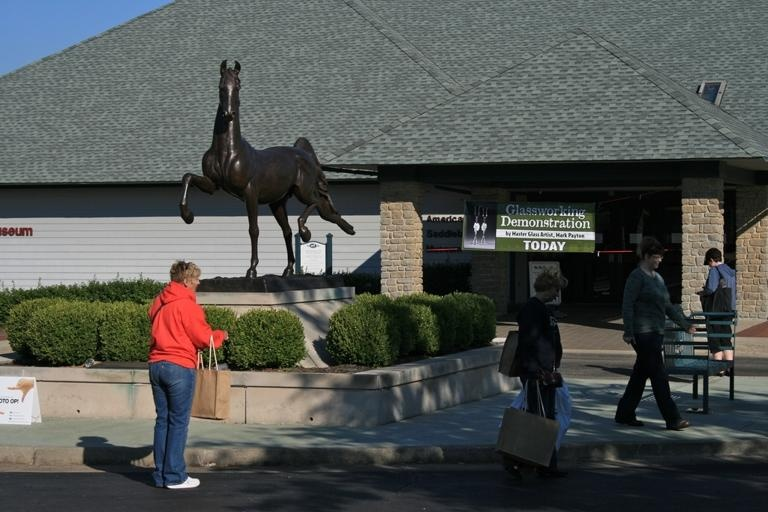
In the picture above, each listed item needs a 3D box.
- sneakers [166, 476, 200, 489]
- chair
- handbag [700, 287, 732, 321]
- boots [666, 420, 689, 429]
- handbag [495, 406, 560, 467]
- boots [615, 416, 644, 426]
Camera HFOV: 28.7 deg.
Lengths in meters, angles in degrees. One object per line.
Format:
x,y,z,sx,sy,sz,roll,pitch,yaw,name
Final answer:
-4.126,4.582,30.691,0.682,0.250,0.244,-2,3,-13,sneakers
7.169,2.426,34.291,1.148,1.526,2.689,-1,0,24,chair
8.065,1.119,36.390,0.833,0.675,0.435,-2,-12,16,handbag
6.357,3.602,32.614,0.482,0.293,0.171,1,-1,9,boots
2.968,3.654,30.694,1.348,0.948,0.441,16,-5,5,handbag
5.383,3.605,33.091,0.582,0.201,0.217,-1,0,12,boots
